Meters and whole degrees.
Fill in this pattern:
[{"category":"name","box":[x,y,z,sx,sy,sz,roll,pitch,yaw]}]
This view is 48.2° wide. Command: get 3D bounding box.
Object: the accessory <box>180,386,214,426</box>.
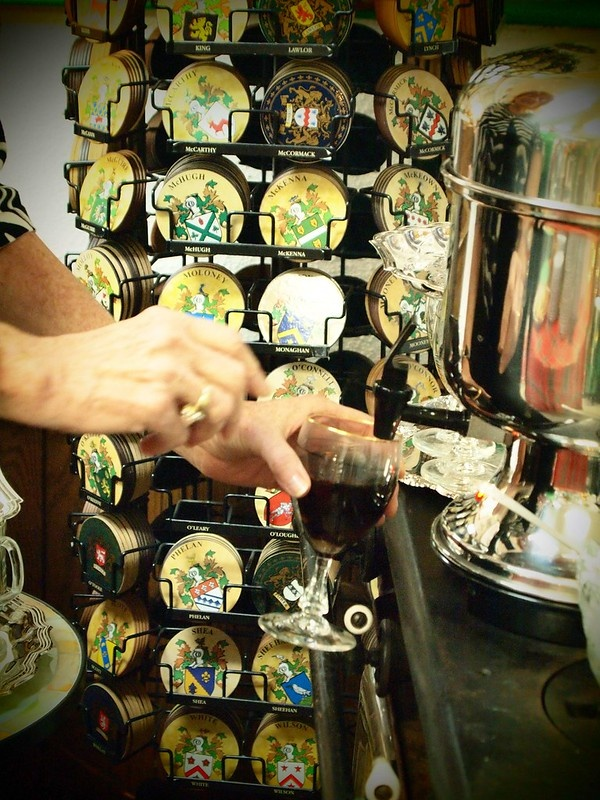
[{"category":"accessory","box":[-0.097,0.004,0.628,0.026,0.026,0.015,-40,45,-1]}]
